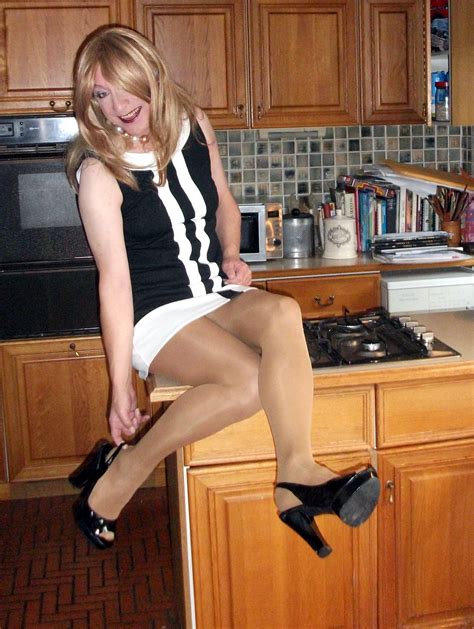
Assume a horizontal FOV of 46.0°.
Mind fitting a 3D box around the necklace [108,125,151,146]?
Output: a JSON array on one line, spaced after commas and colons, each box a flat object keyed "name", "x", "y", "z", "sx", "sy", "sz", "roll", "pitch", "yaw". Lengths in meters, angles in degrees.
[{"name": "necklace", "x": -0.241, "y": -0.403, "z": 1.249, "sx": 0.054, "sy": 0.014, "sz": 0.053, "roll": 10, "pitch": -3, "yaw": 10}]

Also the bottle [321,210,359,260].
[{"name": "bottle", "x": 0.547, "y": -0.420, "z": 2.927, "sx": 0.224, "sy": 0.284, "sz": 0.219, "roll": -3, "pitch": 14, "yaw": 1}]

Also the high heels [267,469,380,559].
[{"name": "high heels", "x": 0.139, "y": 0.324, "z": 0.967, "sx": 0.089, "sy": 0.157, "sz": 0.217, "roll": -8, "pitch": 8, "yaw": -40}]

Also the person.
[{"name": "person", "x": -0.107, "y": -0.047, "z": 1.152, "sx": 0.490, "sy": 1.127, "sz": 0.703, "roll": -5, "pitch": 7, "yaw": -19}]

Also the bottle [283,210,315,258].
[{"name": "bottle", "x": 0.299, "y": -0.428, "z": 2.990, "sx": 0.234, "sy": 0.307, "sz": 0.242, "roll": -1, "pitch": 7, "yaw": 0}]
